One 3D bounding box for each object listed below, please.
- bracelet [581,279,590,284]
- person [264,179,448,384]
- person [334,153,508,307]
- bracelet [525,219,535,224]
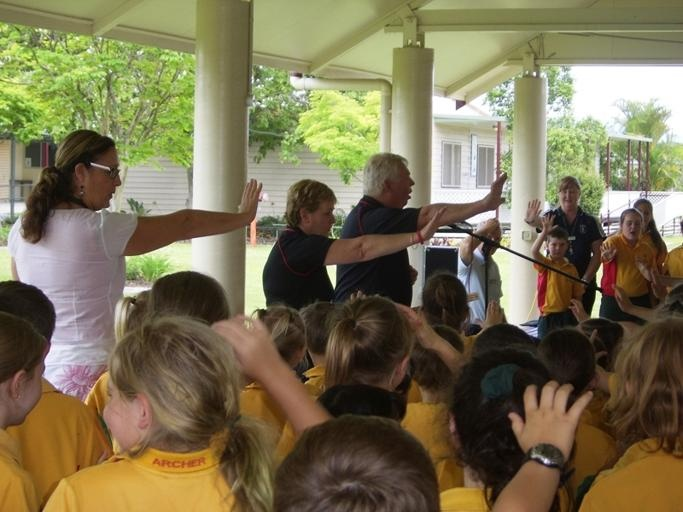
[{"bbox_3d":[1.938,0.192,4.681,0.065,0.016,0.067,8,10,-1],"label":"bracelet"},{"bbox_3d":[0.134,0.417,3.754,0.962,1.738,0.978,3,10,25],"label":"person"},{"bbox_3d":[0.484,0.176,3.902,0.991,1.647,0.677,5,16,8],"label":"person"},{"bbox_3d":[1.744,-0.316,5.442,0.066,0.023,0.733,6,4,18],"label":"bracelet"}]
